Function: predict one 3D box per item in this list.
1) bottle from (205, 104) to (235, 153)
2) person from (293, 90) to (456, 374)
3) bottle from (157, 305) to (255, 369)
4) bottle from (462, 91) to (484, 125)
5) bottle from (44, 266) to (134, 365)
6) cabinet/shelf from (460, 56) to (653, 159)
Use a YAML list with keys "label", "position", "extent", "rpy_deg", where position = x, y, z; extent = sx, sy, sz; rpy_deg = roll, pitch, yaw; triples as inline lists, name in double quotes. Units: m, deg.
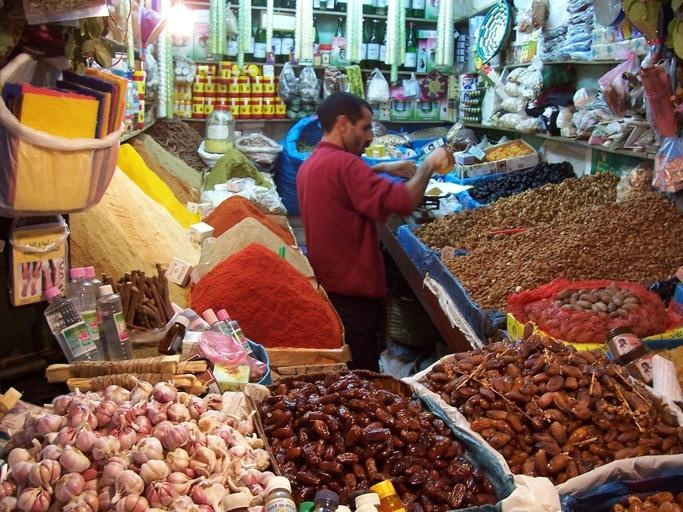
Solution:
- label: "bottle"
  position: [-1.349, -1.349, 5.433]
  extent: [0.302, 0.419, 0.637]
  rpy_deg: [-1, 17, -13]
- label: "person"
  position: [0.089, -0.107, 2.986]
  extent: [0.583, 1.655, 0.778]
  rpy_deg: [-13, 24, -42]
- label: "bottle"
  position: [-0.453, 0.265, 1.625]
  extent: [0.166, 0.080, 0.230]
  rpy_deg: [36, 15, 35]
- label: "bottle"
  position: [1.503, -1.722, 5.712]
  extent: [0.164, 0.293, 0.398]
  rpy_deg: [-2, 31, 1]
- label: "bottle"
  position: [-0.823, 0.219, 1.580]
  extent: [0.196, 0.268, 0.176]
  rpy_deg: [8, 18, 15]
- label: "cabinet/shelf"
  position: [1.791, -1.216, 4.094]
  extent: [0.698, 0.375, 1.614]
  rpy_deg: [4, 11, -30]
